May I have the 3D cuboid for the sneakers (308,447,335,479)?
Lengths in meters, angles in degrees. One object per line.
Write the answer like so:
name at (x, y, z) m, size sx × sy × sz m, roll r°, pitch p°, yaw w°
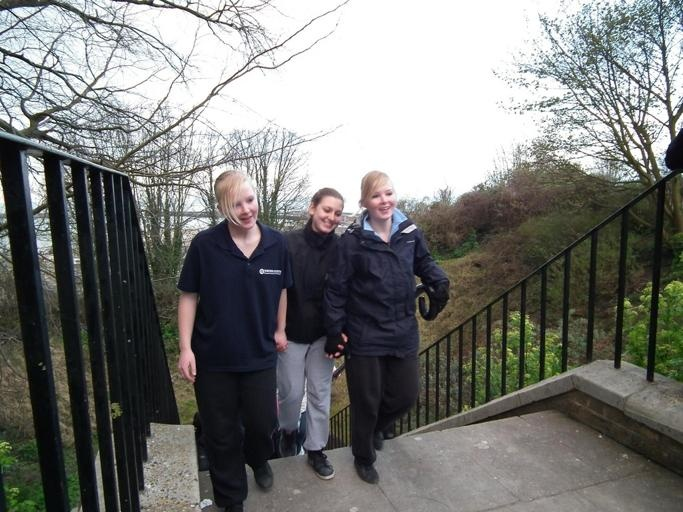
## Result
sneakers at (-0.136, 1.417, 3.451) m, size 0.158 × 0.165 × 0.223 m, roll -4°, pitch 1°, yaw -17°

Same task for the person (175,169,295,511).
person at (-0.648, 0.675, 3.218) m, size 0.710 × 1.940 × 0.293 m, roll -4°, pitch 1°, yaw -9°

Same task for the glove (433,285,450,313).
glove at (0.758, 0.321, 3.724) m, size 0.067 × 0.190 × 0.129 m, roll 4°, pitch 2°, yaw -37°

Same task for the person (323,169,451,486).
person at (0.323, 0.446, 3.529) m, size 0.867 × 1.751 × 0.373 m, roll -4°, pitch 1°, yaw -30°

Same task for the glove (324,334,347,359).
glove at (-0.051, 0.630, 3.464) m, size 0.123 × 0.148 × 0.194 m, roll -4°, pitch 1°, yaw -43°

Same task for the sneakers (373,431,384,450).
sneakers at (0.264, 1.344, 3.670) m, size 0.094 × 0.181 × 0.105 m, roll -1°, pitch 1°, yaw 3°
